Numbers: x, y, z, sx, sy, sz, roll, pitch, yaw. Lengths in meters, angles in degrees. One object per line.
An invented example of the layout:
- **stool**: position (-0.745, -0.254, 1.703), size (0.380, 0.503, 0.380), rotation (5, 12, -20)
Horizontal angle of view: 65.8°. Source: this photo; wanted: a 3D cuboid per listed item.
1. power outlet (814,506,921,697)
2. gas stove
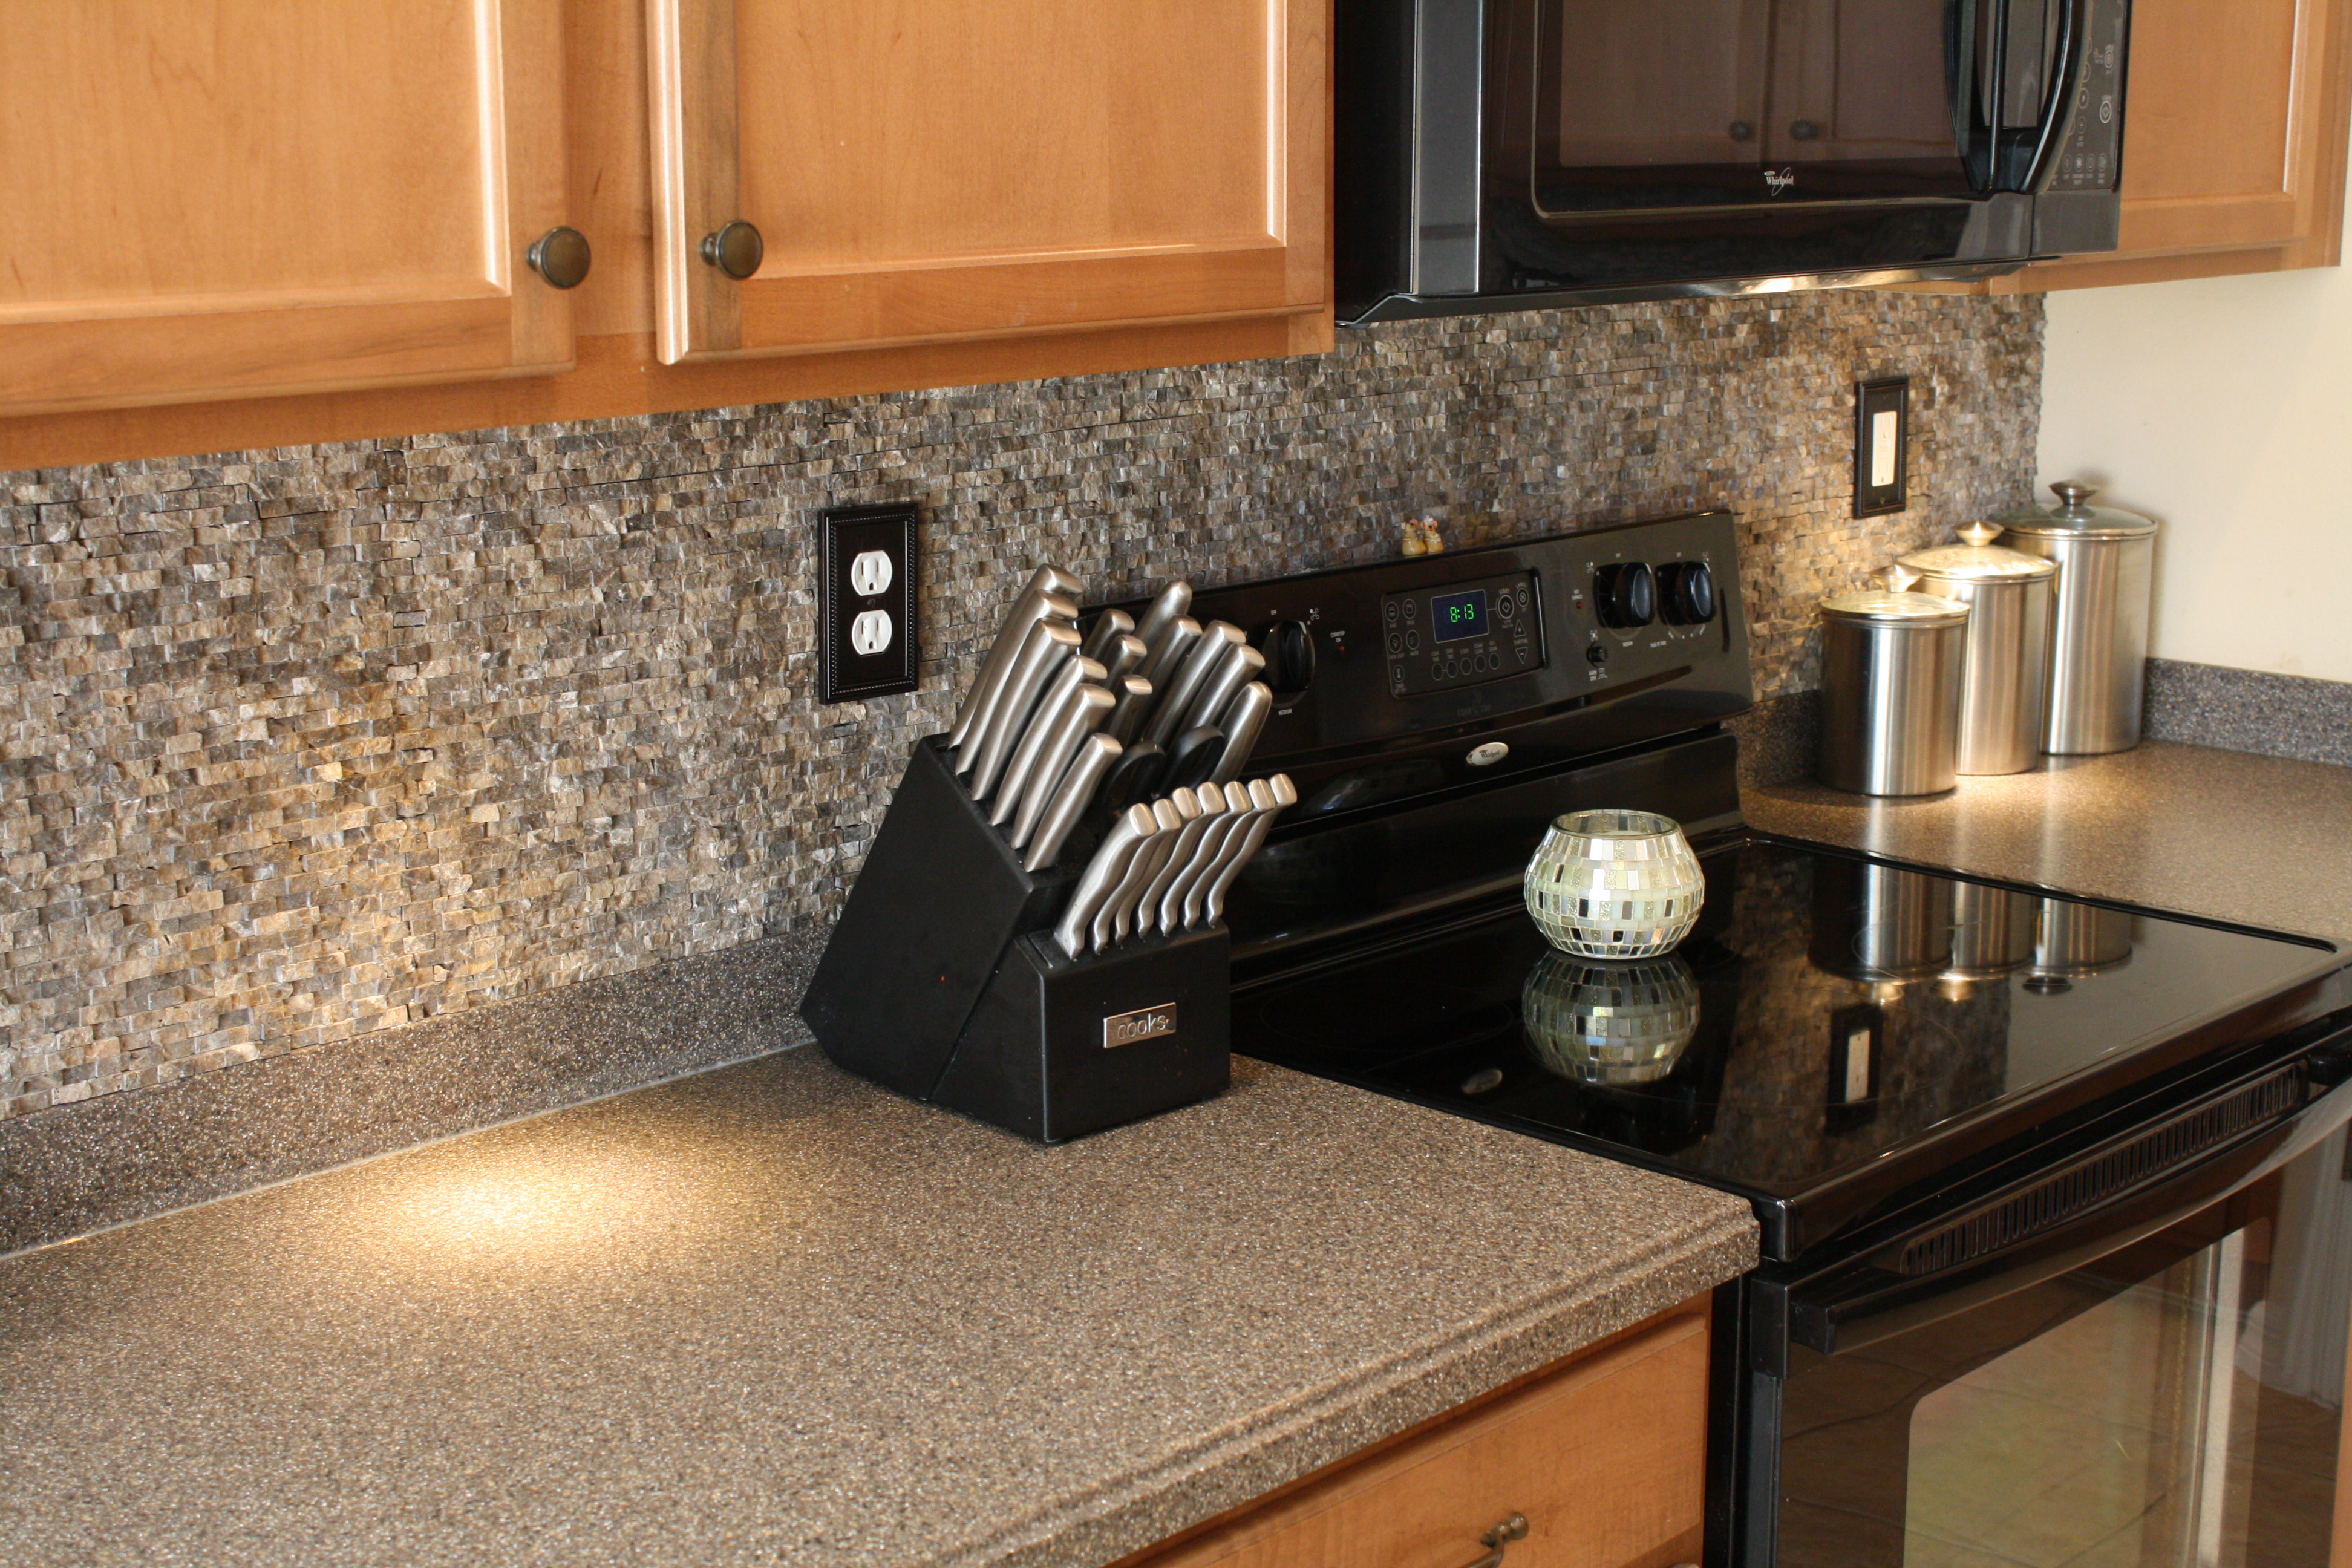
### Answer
- **power outlet**: position (-0.279, -0.164, 1.650), size (0.112, 0.172, 0.026), rotation (-13, 22, -28)
- **gas stove**: position (0.547, 0.142, 1.740), size (1.005, 0.411, 0.737), rotation (-11, 16, -44)
